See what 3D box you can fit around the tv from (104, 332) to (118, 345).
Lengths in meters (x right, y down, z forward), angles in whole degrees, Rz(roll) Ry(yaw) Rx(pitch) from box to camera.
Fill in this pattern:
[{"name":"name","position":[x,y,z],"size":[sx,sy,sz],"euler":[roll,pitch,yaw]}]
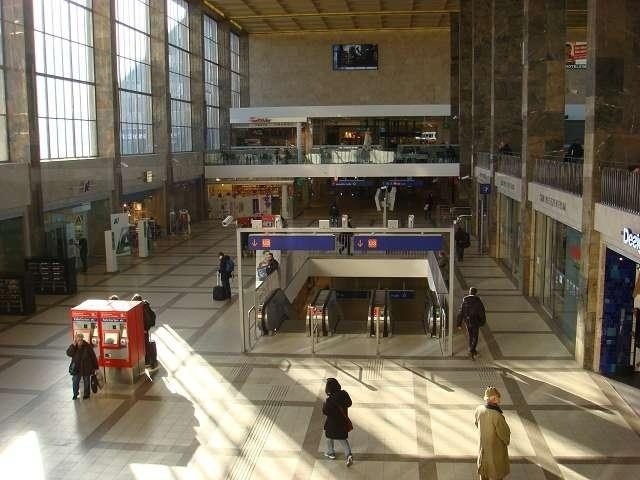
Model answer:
[{"name":"tv","position":[-4.622,2.174,11.312],"size":[0.261,0.318,0.069],"euler":[-3,-5,0]}]

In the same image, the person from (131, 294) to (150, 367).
[{"name":"person","position":[-4.172,2.108,12.119],"size":[0.301,1.772,0.602],"euler":[-3,11,5]}]

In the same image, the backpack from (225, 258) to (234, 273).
[{"name":"backpack","position":[-3.085,0.855,17.145],"size":[0.260,0.570,0.382],"euler":[1,10,9]}]

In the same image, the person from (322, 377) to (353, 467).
[{"name":"person","position":[0.294,2.932,8.453],"size":[0.472,1.570,0.679],"euler":[-4,11,0]}]

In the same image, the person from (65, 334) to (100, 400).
[{"name":"person","position":[-5.030,2.635,10.687],"size":[0.561,1.466,0.619],"euler":[-12,13,-34]}]

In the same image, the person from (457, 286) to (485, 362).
[{"name":"person","position":[3.765,1.999,12.604],"size":[0.632,1.826,0.727],"euler":[-1,12,16]}]

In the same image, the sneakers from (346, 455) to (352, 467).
[{"name":"sneakers","position":[0.493,3.638,8.386],"size":[0.092,0.172,0.160],"euler":[0,1,3]}]

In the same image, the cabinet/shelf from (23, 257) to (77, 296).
[{"name":"cabinet/shelf","position":[-9.810,1.318,18.288],"size":[1.153,1.135,0.437],"euler":[1,11,3]}]

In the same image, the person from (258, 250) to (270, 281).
[{"name":"person","position":[-1.964,0.875,17.219],"size":[0.338,1.125,0.568],"euler":[9,11,38]}]

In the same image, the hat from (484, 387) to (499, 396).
[{"name":"hat","position":[2.446,2.140,7.170],"size":[0.156,0.123,0.195],"euler":[2,14,28]}]

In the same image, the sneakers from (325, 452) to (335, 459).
[{"name":"sneakers","position":[0.179,3.625,8.613],"size":[0.074,0.078,0.173],"euler":[-3,13,-39]}]
